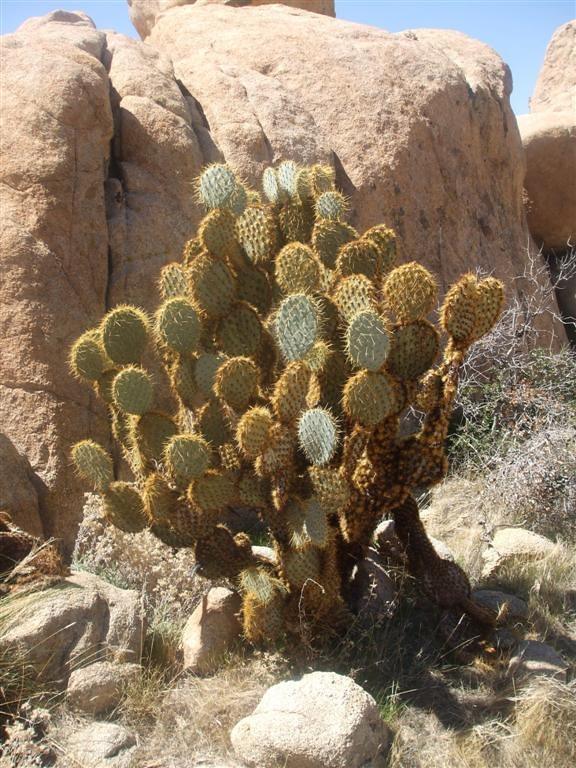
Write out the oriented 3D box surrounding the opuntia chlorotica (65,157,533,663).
[{"bbox_3d":[0.012,0.171,5.950,2.355,3.182,2.227,-8,11,10],"label":"opuntia chlorotica"}]
